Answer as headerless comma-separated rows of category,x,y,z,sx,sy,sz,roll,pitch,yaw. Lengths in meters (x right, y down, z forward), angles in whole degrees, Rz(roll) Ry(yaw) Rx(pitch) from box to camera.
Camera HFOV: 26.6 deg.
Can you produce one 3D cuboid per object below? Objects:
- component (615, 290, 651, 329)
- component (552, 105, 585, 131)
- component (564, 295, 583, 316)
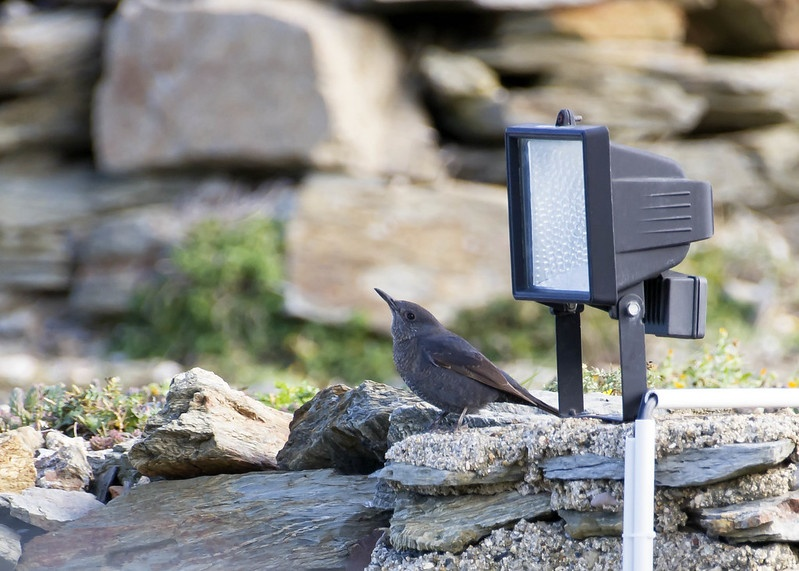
component,1.693,0.145,12.487,0.199,0.205,0.193,5,41,2
component,1.287,-1.258,12.692,0.194,0.109,0.141,6,2,-27
component,1.317,0.166,12.855,0.101,0.102,0.110,0,-7,42
